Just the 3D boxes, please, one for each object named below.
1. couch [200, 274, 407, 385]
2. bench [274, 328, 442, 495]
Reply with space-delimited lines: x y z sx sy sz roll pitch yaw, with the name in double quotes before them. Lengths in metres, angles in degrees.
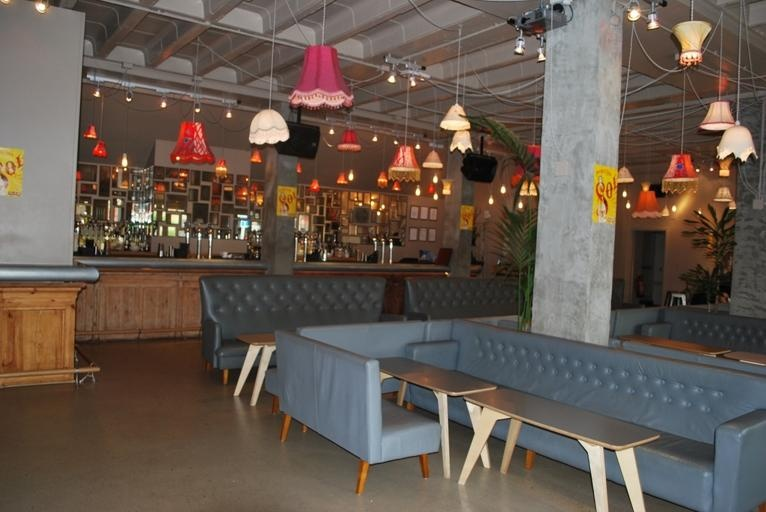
"couch" -1.103 1.026 8.588 2.933 1.453 1.065 2 1 -30
"bench" -0.329 1.534 6.368 1.007 1.305 1.993 0 3 -33
